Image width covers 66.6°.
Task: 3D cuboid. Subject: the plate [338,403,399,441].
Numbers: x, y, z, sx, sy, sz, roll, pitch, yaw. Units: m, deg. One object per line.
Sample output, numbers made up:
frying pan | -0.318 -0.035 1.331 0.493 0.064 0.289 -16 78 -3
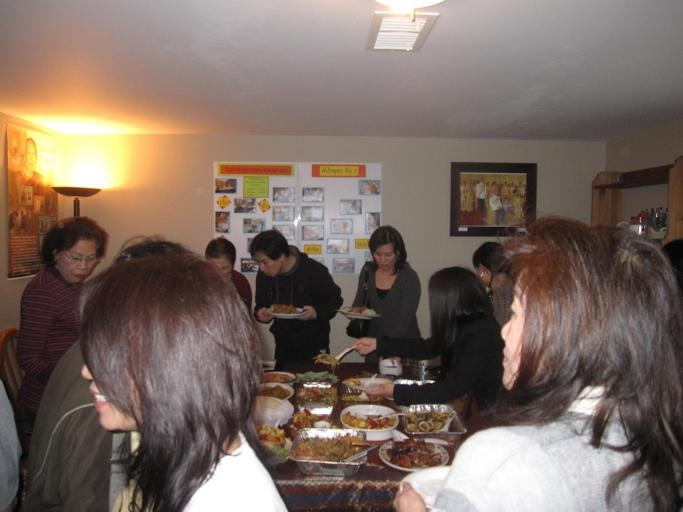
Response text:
plate | 0.106 0.704 2.229 0.193 0.047 0.195 -13 17 -25

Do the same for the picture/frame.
picture/frame | 1.386 -0.558 4.806 0.847 0.774 0.032 1 2 -7
